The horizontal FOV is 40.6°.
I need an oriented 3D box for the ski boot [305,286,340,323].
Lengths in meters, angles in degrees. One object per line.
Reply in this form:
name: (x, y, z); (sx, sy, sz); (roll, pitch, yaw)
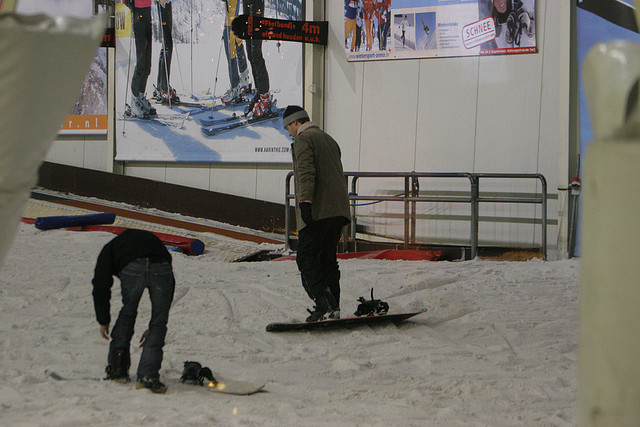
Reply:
ski boot: (-0.010, 1.121, 10.470); (0.424, 0.473, 0.199); (-21, -20, 25)

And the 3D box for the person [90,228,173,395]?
person: (-2.037, 1.064, 9.467); (0.862, 1.717, 0.413); (2, 5, 10)

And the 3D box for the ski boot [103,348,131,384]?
ski boot: (-2.251, 1.652, 9.556); (0.273, 0.423, 0.325); (1, -6, -18)

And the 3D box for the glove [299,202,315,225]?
glove: (-0.148, -0.004, 10.483); (0.166, 0.367, 0.275); (-4, 2, -2)

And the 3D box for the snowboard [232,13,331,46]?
snowboard: (-0.766, -3.395, 16.021); (2.199, 0.747, 0.258); (7, 10, 11)

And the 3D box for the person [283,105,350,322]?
person: (-0.026, 0.018, 10.438); (0.781, 2.553, 0.571); (1, 5, 1)

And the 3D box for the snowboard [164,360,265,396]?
snowboard: (-1.174, 1.805, 9.457); (1.124, 0.262, 0.259); (4, 6, 14)

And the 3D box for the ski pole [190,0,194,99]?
ski pole: (-2.525, -3.123, 17.000); (0.056, 1.763, 0.046); (2, 5, 10)

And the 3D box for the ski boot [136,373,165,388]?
ski boot: (-1.845, 1.824, 9.382); (0.312, 0.175, 0.114); (11, 0, -15)
